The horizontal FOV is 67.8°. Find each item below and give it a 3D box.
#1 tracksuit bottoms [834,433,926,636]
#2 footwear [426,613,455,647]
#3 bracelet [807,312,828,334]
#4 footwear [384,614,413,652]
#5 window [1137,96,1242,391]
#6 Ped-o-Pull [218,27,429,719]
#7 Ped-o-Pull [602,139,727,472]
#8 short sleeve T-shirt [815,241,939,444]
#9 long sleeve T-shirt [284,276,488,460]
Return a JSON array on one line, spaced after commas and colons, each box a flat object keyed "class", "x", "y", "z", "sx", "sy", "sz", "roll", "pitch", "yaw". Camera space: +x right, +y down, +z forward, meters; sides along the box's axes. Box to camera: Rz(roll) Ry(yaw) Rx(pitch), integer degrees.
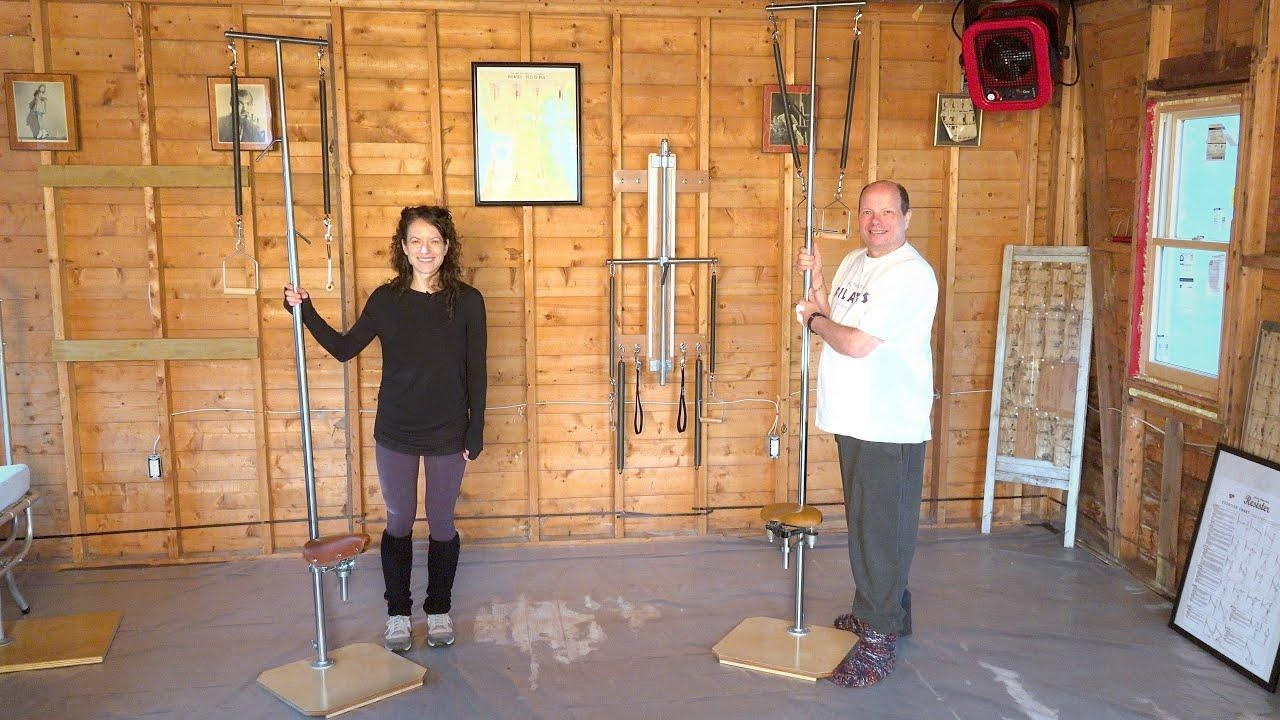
[{"class": "tracksuit bottoms", "x": 1.598, "y": 1.225, "z": 6.449, "sx": 0.524, "sy": 1.450, "sz": 0.555, "roll": 9, "pitch": 2, "yaw": 1}, {"class": "footwear", "x": -1.354, "y": 1.845, "z": 6.442, "sx": 0.134, "sy": 0.097, "sz": 0.272, "roll": 0, "pitch": -2, "yaw": -14}, {"class": "bracelet", "x": 1.130, "y": -0.242, "z": 6.191, "sx": 0.140, "sy": 0.132, "sz": 0.057, "roll": 5, "pitch": -11, "yaw": 2}, {"class": "footwear", "x": -1.621, "y": 1.841, "z": 6.383, "sx": 0.143, "sy": 0.112, "sz": 0.293, "roll": 0, "pitch": 1, "yaw": -11}, {"class": "window", "x": 3.882, "y": -0.806, "z": 6.758, "sx": 0.283, "sy": 2.075, "sz": 0.660, "roll": -9, "pitch": 11, "yaw": -29}, {"class": "Ped-o-Pull", "x": -2.381, "y": -0.100, "z": 6.589, "sx": 1.011, "sy": 4.456, "sz": 2.222, "roll": -7, "pitch": 10, "yaw": -22}, {"class": "Ped-o-Pull", "x": 0.154, "y": -0.412, "z": 7.520, "sx": 0.883, "sy": 2.582, "sz": 0.320, "roll": -3, "pitch": 10, "yaw": -3}, {"class": "short sleeve T-shirt", "x": 1.529, "y": -0.101, "z": 6.233, "sx": 0.736, "sy": 1.298, "sz": 0.403, "roll": 1, "pitch": 10, "yaw": 20}, {"class": "long sleeve T-shirt", "x": -1.710, "y": 0.085, "z": 6.349, "sx": 1.526, "sy": 1.189, "sz": 0.464, "roll": -2, "pitch": 10, "yaw": -45}]
